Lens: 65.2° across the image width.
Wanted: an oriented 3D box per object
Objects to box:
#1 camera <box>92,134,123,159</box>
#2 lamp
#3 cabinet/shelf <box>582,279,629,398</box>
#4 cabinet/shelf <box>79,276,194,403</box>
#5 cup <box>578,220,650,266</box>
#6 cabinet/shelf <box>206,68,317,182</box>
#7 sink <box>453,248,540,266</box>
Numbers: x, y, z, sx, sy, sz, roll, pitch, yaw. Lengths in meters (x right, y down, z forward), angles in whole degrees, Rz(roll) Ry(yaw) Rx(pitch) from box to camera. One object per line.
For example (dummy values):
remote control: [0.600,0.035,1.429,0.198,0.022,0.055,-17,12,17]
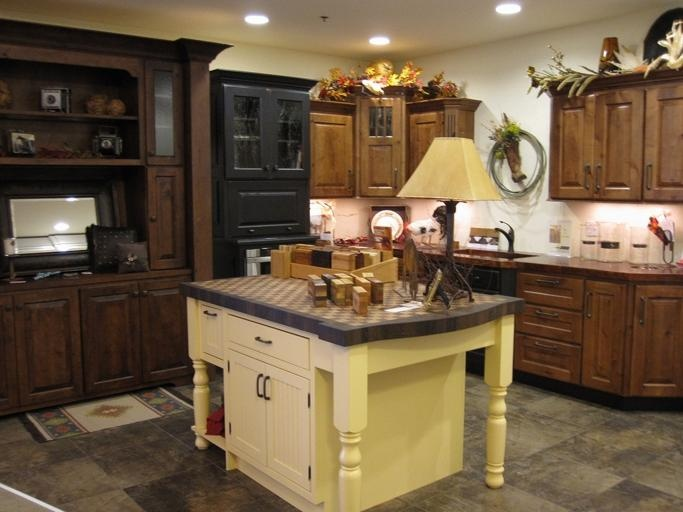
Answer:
camera: [-1.959,-0.901,4.494,0.285,0.244,0.200,-2,3,-29]
lamp: [0.629,-0.212,3.055,0.654,0.922,0.500,-7,12,-36]
cabinet/shelf: [2.076,0.630,4.206,0.329,0.850,0.154,6,11,30]
cabinet/shelf: [-1.731,0.675,4.368,1.030,0.920,0.389,-3,2,-37]
cup: [2.349,-0.121,4.595,0.555,0.336,0.209,5,11,30]
cabinet/shelf: [-0.799,-1.225,5.070,1.334,1.191,0.634,-2,3,-34]
sink: [1.449,0.007,5.214,0.270,0.096,0.418,-7,9,-34]
